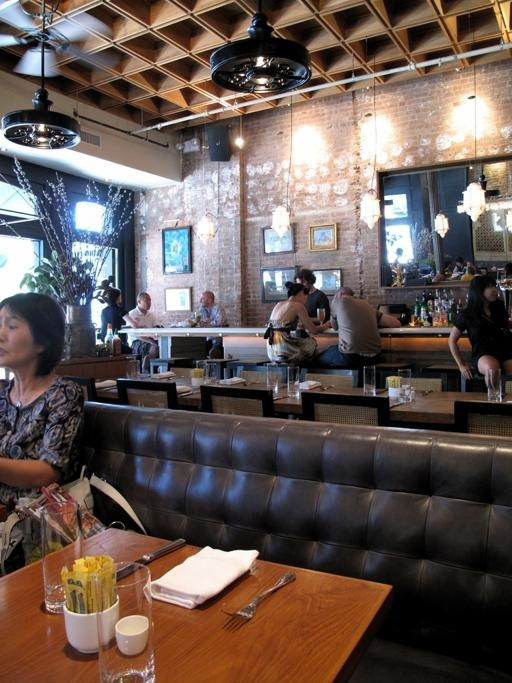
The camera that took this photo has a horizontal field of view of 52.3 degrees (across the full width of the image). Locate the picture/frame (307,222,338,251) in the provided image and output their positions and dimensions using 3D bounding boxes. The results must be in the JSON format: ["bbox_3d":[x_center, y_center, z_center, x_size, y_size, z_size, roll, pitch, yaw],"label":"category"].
[{"bbox_3d":[1.027,-1.597,7.957,0.481,0.400,0.047,1,3,41],"label":"picture/frame"}]

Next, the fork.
[{"bbox_3d":[0.013,0.455,0.978,0.035,0.030,0.257,9,4,26],"label":"fork"}]

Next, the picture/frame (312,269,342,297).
[{"bbox_3d":[1.042,-0.849,7.591,0.625,0.510,0.047,-1,-2,40],"label":"picture/frame"}]

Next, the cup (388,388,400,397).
[{"bbox_3d":[0.739,0.272,2.800,0.045,0.031,0.044,0,-5,0],"label":"cup"}]

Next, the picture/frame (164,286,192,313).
[{"bbox_3d":[-1.427,-0.782,9.639,0.504,0.358,0.039,2,2,39],"label":"picture/frame"}]

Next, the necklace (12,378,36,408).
[{"bbox_3d":[-0.833,0.188,1.890,0.084,0.117,0.044,4,11,36],"label":"necklace"}]

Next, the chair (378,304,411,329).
[{"bbox_3d":[1.649,-0.292,6.241,0.261,0.255,0.196,-2,-33,9],"label":"chair"}]

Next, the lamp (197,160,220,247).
[{"bbox_3d":[-0.821,-2.340,8.857,0.509,1.270,1.080,-6,4,-6],"label":"lamp"}]

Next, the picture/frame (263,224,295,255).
[{"bbox_3d":[0.384,-1.633,8.337,0.531,0.443,0.040,2,2,37],"label":"picture/frame"}]

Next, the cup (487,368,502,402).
[{"bbox_3d":[1.141,0.205,2.495,0.068,0.148,0.258,-4,4,24],"label":"cup"}]

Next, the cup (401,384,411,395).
[{"bbox_3d":[0.785,0.256,2.732,0.047,0.052,0.047,0,-3,0],"label":"cup"}]

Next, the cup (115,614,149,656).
[{"bbox_3d":[-0.161,0.378,0.677,0.035,0.027,0.042,2,12,5],"label":"cup"}]

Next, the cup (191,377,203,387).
[{"bbox_3d":[-0.408,0.281,3.639,0.089,0.063,0.087,1,-4,0],"label":"cup"}]

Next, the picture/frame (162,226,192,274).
[{"bbox_3d":[-1.438,-1.679,9.591,0.922,1.072,0.073,-1,-1,36],"label":"picture/frame"}]

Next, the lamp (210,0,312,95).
[{"bbox_3d":[0.010,-1.563,2.992,0.550,0.167,0.594,-2,5,44],"label":"lamp"}]

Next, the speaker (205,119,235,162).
[{"bbox_3d":[-0.613,-3.354,8.762,0.409,0.684,0.289,-5,4,-1],"label":"speaker"}]
